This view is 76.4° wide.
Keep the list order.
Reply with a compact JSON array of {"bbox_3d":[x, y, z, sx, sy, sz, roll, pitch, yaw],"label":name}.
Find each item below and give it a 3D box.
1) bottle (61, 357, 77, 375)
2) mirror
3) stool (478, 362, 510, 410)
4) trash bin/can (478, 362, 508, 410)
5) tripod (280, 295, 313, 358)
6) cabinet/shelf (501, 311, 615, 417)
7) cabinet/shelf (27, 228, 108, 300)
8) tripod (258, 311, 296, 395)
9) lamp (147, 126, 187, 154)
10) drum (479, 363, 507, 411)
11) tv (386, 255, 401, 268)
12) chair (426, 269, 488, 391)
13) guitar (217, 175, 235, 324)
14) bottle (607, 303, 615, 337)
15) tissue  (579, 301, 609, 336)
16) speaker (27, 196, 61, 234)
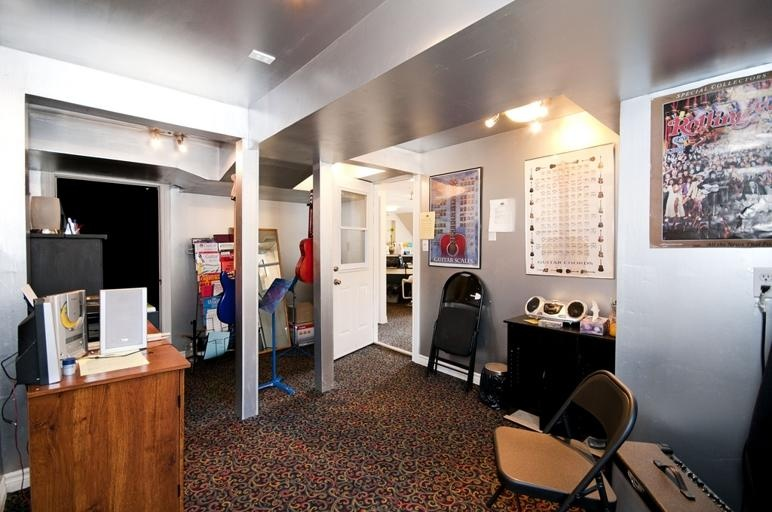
[{"bbox_3d":[-2.073,0.725,3.201,0.080,0.096,0.104,3,-3,-33],"label":"bottle"},{"bbox_3d":[-1.686,0.233,6.461,0.576,1.331,0.090,0,-29,-14],"label":"mirror"},{"bbox_3d":[1.096,1.249,4.714,0.331,0.353,0.333,-2,2,15],"label":"stool"},{"bbox_3d":[0.969,1.239,4.709,0.344,0.364,0.345,0,-2,9],"label":"trash bin/can"},{"bbox_3d":[-1.124,0.938,6.445,0.388,0.590,0.412,6,6,38],"label":"tripod"},{"bbox_3d":[1.451,0.881,4.044,0.395,0.868,0.941,4,-4,-38],"label":"cabinet/shelf"},{"bbox_3d":[-2.685,0.061,4.244,0.698,0.657,0.455,0,1,-41],"label":"cabinet/shelf"},{"bbox_3d":[-1.133,0.986,5.052,0.498,0.734,0.544,1,5,10],"label":"tripod"},{"bbox_3d":[-2.172,-1.158,4.920,0.379,0.186,0.312,-2,4,-30],"label":"lamp"},{"bbox_3d":[1.004,1.234,4.594,0.336,0.359,0.337,0,-2,6],"label":"drum"},{"bbox_3d":[0.192,0.134,9.852,0.339,0.230,0.265,0,3,7],"label":"tv"},{"bbox_3d":[0.726,0.756,5.143,0.649,1.166,0.347,2,4,44],"label":"chair"},{"bbox_3d":[-1.846,0.015,5.624,0.217,1.670,0.530,-2,3,-19],"label":"guitar"},{"bbox_3d":[1.881,0.518,4.077,0.054,0.250,0.292,1,3,29],"label":"bottle"},{"bbox_3d":[1.755,0.529,4.117,0.175,0.207,0.215,-16,14,-41],"label":"tissue "},{"bbox_3d":[-2.842,-0.342,4.077,0.206,0.280,0.244,-3,4,-31],"label":"speaker"}]
